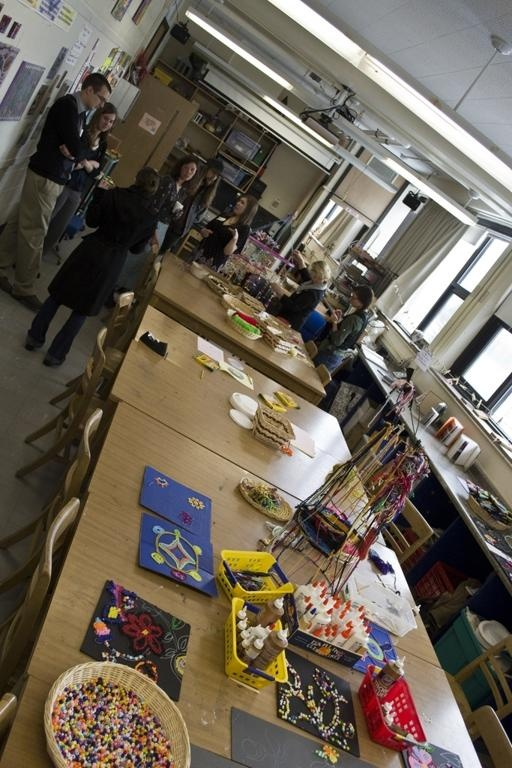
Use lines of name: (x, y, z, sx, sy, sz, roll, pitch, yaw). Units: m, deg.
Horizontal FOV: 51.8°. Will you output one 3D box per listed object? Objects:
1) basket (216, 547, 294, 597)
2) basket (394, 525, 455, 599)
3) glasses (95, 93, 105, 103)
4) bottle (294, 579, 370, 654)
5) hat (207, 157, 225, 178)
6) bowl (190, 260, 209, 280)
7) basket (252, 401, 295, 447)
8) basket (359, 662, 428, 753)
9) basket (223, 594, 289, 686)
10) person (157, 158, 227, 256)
basket: (-0.008, 0.616, 1.668, 0.206, 0.070, 0.179, 16, 20, -29)
basket: (1.319, 1.388, 4.196, 0.265, 0.527, 0.296, -3, -1, -13)
glasses: (-1.059, -1.931, 3.595, 0.013, 0.048, 0.044, 0, 4, 31)
bottle: (0.239, 0.756, 1.705, 0.192, 0.197, 0.098, 17, 23, -7)
hat: (-0.380, -1.995, 4.917, 0.074, 0.294, 0.289, 7, 10, -16)
bowl: (-0.480, -0.990, 4.516, 0.147, 0.095, 0.153, 23, 25, -11)
basket: (0.087, 0.189, 2.792, 0.168, 0.106, 0.246, 23, 15, -23)
basket: (0.392, 0.963, 1.558, 0.130, 0.086, 0.206, 26, 17, -15)
basket: (-0.017, 0.700, 1.417, 0.151, 0.076, 0.211, 33, 17, -14)
person: (-0.751, -1.599, 5.103, 0.422, 1.362, 0.434, 3, 59, -14)
